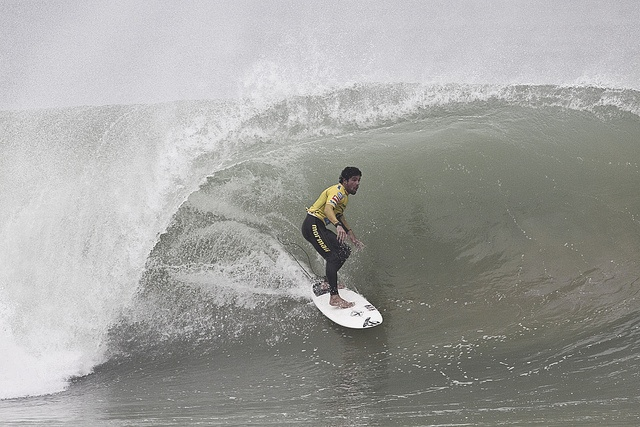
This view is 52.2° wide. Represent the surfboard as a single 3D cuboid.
[{"bbox_3d":[0.455,1.444,10.258,0.687,1.470,0.185,-31,52,8],"label":"surfboard"}]
